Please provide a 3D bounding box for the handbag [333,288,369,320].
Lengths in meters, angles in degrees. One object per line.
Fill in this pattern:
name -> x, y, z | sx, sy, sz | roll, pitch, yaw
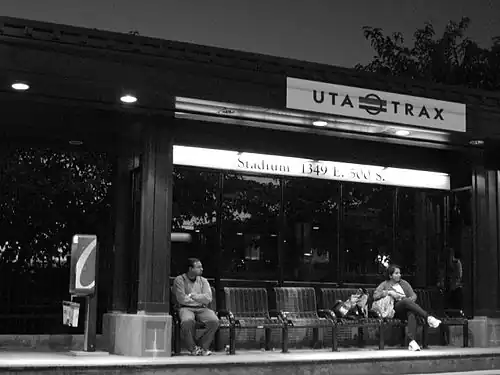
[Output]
handbag -> 2.009, 2.347, 13.362 | 0.535, 0.252, 0.524 | -24, 5, -36

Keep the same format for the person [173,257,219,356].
person -> -0.980, 2.187, 12.316 | 0.771, 1.757, 0.660 | 5, -12, -22

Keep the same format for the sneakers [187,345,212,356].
sneakers -> -0.911, 2.921, 11.972 | 0.368, 0.184, 0.161 | -1, -12, 1

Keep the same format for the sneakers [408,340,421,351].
sneakers -> 3.200, 3.101, 13.114 | 0.153, 0.117, 0.256 | 1, 1, 4

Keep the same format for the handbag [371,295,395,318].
handbag -> 2.717, 2.428, 13.525 | 0.445, 0.520, 0.345 | 10, -12, 23
